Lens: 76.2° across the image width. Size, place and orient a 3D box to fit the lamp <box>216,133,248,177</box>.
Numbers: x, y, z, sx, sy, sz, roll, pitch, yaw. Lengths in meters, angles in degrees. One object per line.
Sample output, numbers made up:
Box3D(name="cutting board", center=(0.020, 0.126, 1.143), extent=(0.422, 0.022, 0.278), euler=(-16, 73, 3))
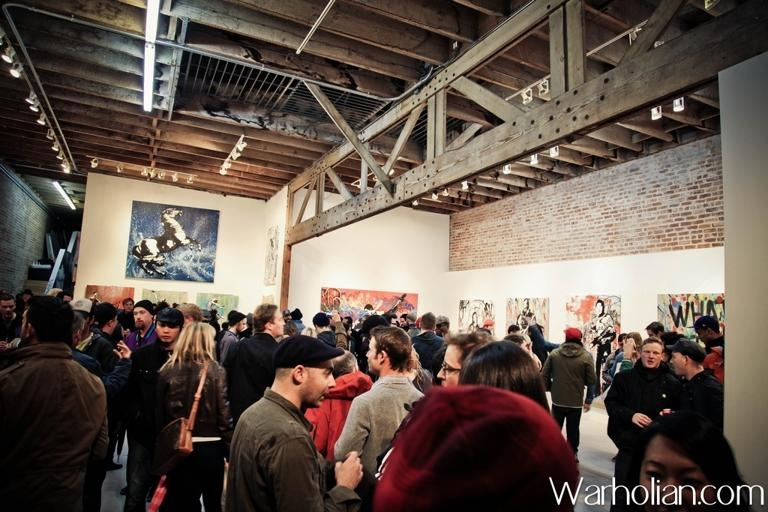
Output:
Box3D(name="lamp", center=(-3.389, -2.294, 10.864), extent=(0.208, 0.160, 0.851), euler=(-32, -5, -47))

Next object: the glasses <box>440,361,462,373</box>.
Box3D(name="glasses", center=(0.484, 0.830, 3.644), extent=(0.072, 0.067, 0.196), euler=(7, -8, -26))

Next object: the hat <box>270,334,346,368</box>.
Box3D(name="hat", center=(-0.475, 0.608, 3.018), extent=(0.321, 0.142, 0.240), euler=(6, -16, -12))

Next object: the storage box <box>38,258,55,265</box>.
Box3D(name="storage box", center=(-12.240, 0.101, 17.717), extent=(0.501, 0.321, 0.263), euler=(5, -13, -33))

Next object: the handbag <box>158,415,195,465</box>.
Box3D(name="handbag", center=(-1.661, 1.497, 3.936), extent=(0.330, 0.276, 0.120), euler=(-32, -37, 27))

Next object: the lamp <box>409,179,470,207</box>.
Box3D(name="lamp", center=(1.116, -1.232, 9.508), extent=(0.854, 0.217, 0.761), euler=(10, -19, -38))

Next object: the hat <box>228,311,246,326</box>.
Box3D(name="hat", center=(-2.004, 0.848, 6.820), extent=(0.193, 0.190, 0.257), euler=(-27, -28, 31))

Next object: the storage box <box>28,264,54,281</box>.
Box3D(name="storage box", center=(-11.904, 0.555, 16.907), extent=(0.715, 0.597, 0.786), euler=(9, -9, -38))

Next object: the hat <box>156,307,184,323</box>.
Box3D(name="hat", center=(-1.944, 0.541, 4.444), extent=(0.222, 0.138, 0.148), euler=(10, -9, -41))
